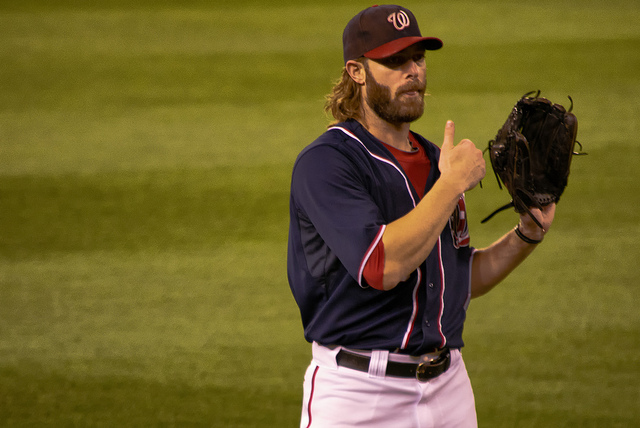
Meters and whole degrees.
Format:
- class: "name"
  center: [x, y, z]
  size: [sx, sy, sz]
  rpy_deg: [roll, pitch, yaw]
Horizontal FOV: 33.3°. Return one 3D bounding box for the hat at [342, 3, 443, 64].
- class: "hat"
  center: [0.521, -1.343, 7.998]
  size: [0.550, 0.345, 0.419]
  rpy_deg: [-11, 1, 40]
